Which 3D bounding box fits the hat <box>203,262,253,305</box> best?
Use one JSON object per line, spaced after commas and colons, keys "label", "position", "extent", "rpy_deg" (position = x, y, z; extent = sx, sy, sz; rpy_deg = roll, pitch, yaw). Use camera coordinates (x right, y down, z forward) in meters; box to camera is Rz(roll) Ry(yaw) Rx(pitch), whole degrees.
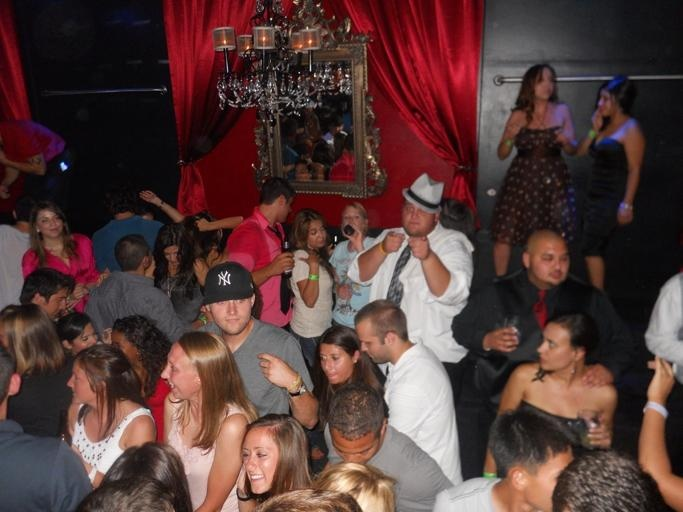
{"label": "hat", "position": [-0.717, 0.149, 3.566], "extent": [0.304, 0.213, 0.387], "rpy_deg": [-8, 13, -18]}

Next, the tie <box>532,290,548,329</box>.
{"label": "tie", "position": [1.362, 0.362, 3.941], "extent": [0.069, 0.248, 0.092], "rpy_deg": [-5, 13, -29]}

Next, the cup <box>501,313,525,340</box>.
{"label": "cup", "position": [1.148, 0.486, 3.861], "extent": [0.107, 0.223, 0.261], "rpy_deg": [6, 13, 20]}
